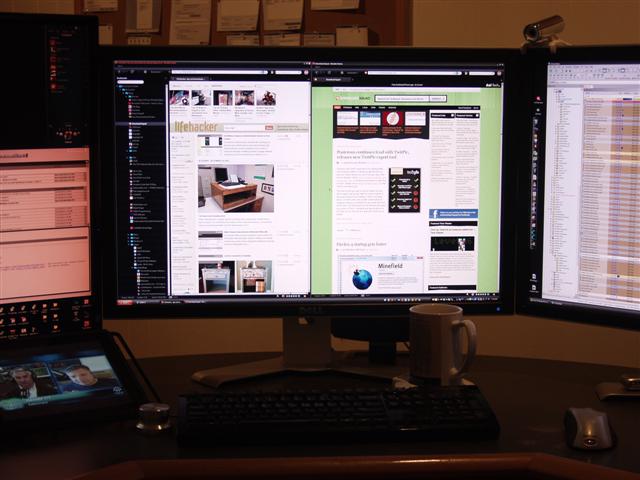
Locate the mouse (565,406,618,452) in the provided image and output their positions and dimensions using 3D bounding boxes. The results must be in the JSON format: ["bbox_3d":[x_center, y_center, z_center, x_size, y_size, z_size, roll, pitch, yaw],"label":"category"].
[{"bbox_3d":[0.470,0.321,1.110,0.082,0.035,0.126,-2,13,16],"label":"mouse"}]

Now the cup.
[{"bbox_3d":[0.258,0.223,1.272,0.101,0.146,0.160,3,-1,-17],"label":"cup"}]

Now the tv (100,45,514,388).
[{"bbox_3d":[-0.024,-0.074,1.318,0.757,0.570,0.171,1,6,0],"label":"tv"}]
